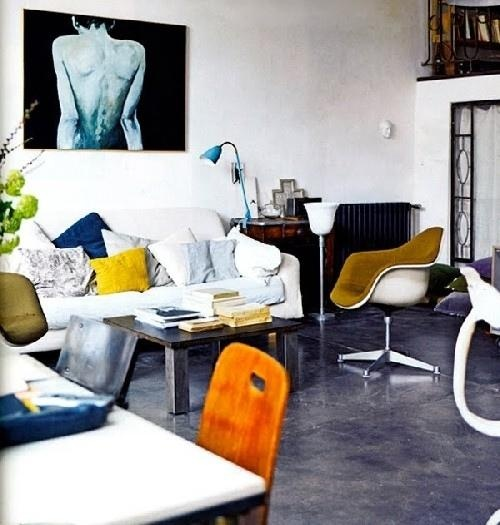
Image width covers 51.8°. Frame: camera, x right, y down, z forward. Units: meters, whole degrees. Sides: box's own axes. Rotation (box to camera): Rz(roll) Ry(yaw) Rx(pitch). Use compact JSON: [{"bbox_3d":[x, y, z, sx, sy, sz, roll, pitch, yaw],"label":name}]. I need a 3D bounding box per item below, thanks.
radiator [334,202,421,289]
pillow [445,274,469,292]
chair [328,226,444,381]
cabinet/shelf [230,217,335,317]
[{"bbox_3d":[1.229,-0.195,5.219,1.060,1.021,0.104,-1,3,-23],"label":"radiator"},{"bbox_3d":[2.118,0.230,5.257,0.257,0.090,0.249,-17,4,9],"label":"pillow"},{"bbox_3d":[1.058,0.263,4.035,0.824,1.085,0.936,-1,5,-11],"label":"chair"},{"bbox_3d":[0.489,0.041,6.034,1.164,1.438,1.021,-4,6,-33],"label":"cabinet/shelf"}]
